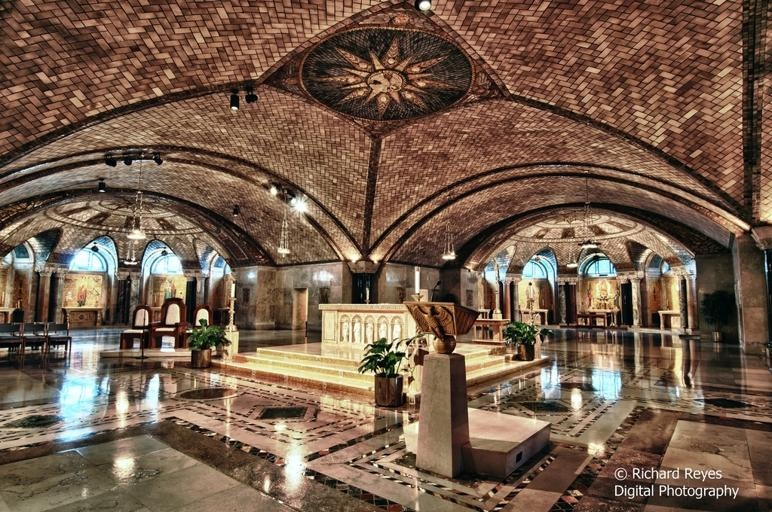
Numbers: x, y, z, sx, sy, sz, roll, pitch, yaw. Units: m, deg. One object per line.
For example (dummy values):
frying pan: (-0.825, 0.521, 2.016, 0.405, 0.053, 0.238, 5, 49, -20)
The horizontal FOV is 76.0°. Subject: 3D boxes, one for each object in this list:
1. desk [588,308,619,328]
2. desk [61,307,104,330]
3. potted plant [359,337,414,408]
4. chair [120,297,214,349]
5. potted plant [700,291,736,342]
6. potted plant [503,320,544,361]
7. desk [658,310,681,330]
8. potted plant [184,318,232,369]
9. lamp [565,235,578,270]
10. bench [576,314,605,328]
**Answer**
desk: (12.983, 3.712, 29.845, 1.994, 1.073, 1.272, -5, -12, 37)
desk: (-16.428, 3.336, 27.020, 1.006, 1.280, 2.222, 4, 8, 32)
potted plant: (-0.046, 2.286, 9.668, 0.749, 1.239, 0.668, 3, 8, 24)
chair: (-8.027, 2.423, 17.769, 3.075, 1.611, 0.936, 1, -12, -16)
potted plant: (12.418, 2.244, 18.544, 1.104, 1.951, 0.494, 3, 9, 28)
potted plant: (3.973, 2.423, 14.276, 0.932, 0.955, 1.079, 2, 8, 22)
desk: (15.764, 3.624, 27.992, 1.526, 1.226, 1.286, -5, -9, 41)
potted plant: (-4.848, 2.455, 13.387, 1.275, 1.024, 1.146, 1, -7, -28)
lamp: (11.329, -0.042, 30.212, 0.679, 2.207, 3.005, 2, 7, 20)
bench: (12.335, 3.910, 29.858, 1.156, 0.543, 0.395, -5, -15, 23)
